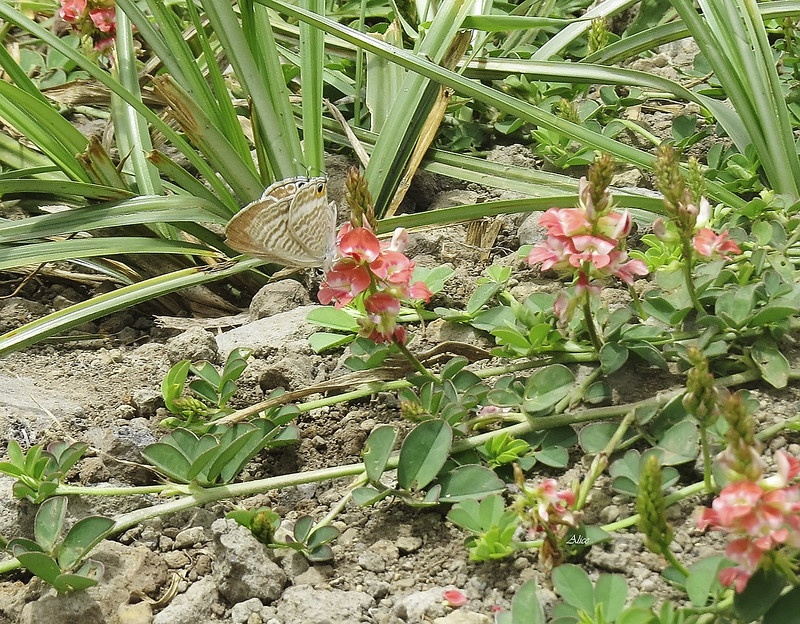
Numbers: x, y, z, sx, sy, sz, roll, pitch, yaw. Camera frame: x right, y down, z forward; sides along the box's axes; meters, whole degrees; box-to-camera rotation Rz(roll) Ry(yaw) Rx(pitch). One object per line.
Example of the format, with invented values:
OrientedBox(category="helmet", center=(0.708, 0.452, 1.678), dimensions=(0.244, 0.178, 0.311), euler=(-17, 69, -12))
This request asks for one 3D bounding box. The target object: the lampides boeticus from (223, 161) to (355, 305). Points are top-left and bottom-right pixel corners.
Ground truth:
OrientedBox(category="lampides boeticus", center=(-0.242, -0.192, 2.024), dimensions=(0.292, 0.194, 0.337), euler=(4, 4, -1))
